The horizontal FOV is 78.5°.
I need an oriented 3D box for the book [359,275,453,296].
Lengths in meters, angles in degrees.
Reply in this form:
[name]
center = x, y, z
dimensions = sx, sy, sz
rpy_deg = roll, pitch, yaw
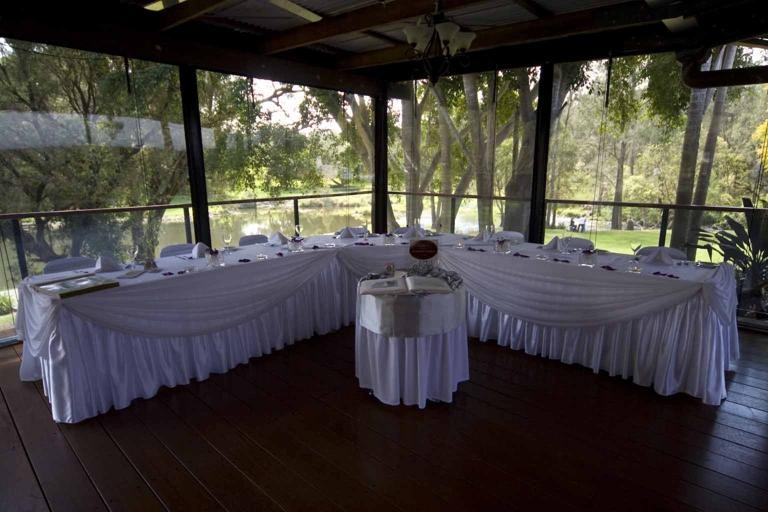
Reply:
[book]
center = 0.196, 0.300, 4.575
dimensions = 0.922, 0.162, 0.295
rpy_deg = 1, 10, 8
